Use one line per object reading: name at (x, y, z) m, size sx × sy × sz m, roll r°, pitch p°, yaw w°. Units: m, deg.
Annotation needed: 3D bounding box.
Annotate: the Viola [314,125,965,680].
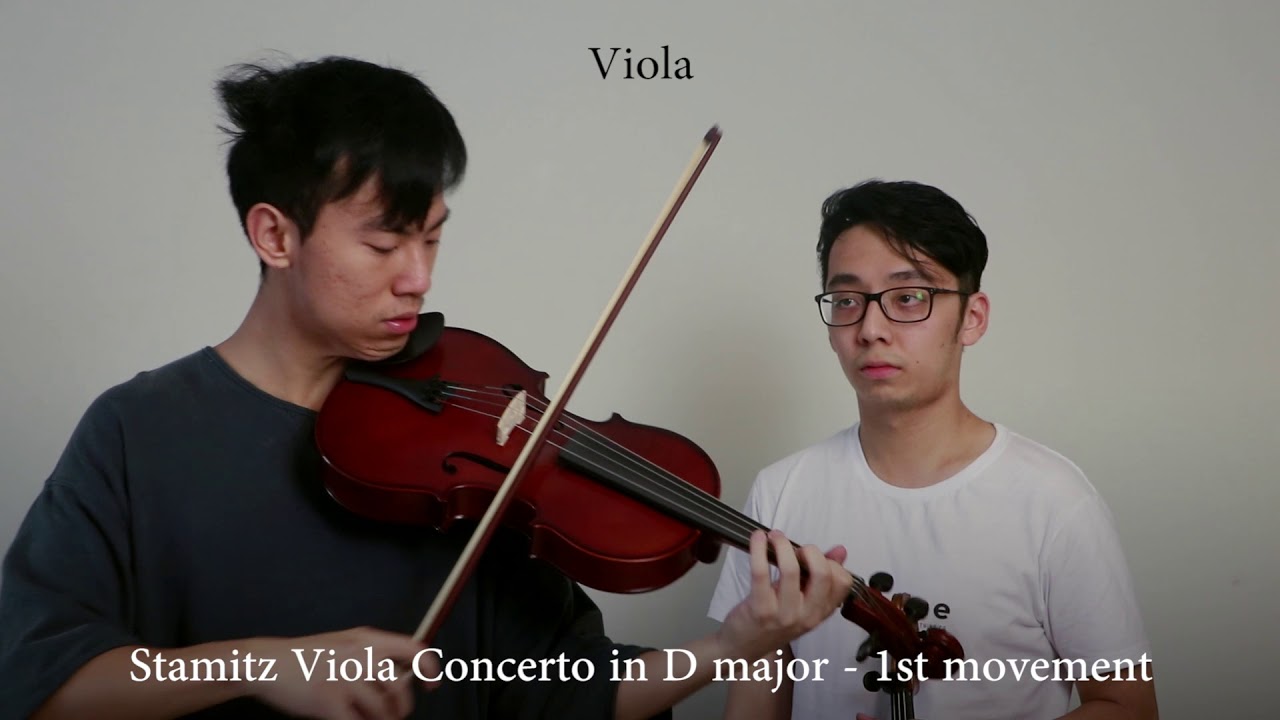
Viola at (0.019, 0.415, 3.023) m, size 1.905 × 0.685 × 0.329 m, roll 21°, pitch -51°, yaw 6°
